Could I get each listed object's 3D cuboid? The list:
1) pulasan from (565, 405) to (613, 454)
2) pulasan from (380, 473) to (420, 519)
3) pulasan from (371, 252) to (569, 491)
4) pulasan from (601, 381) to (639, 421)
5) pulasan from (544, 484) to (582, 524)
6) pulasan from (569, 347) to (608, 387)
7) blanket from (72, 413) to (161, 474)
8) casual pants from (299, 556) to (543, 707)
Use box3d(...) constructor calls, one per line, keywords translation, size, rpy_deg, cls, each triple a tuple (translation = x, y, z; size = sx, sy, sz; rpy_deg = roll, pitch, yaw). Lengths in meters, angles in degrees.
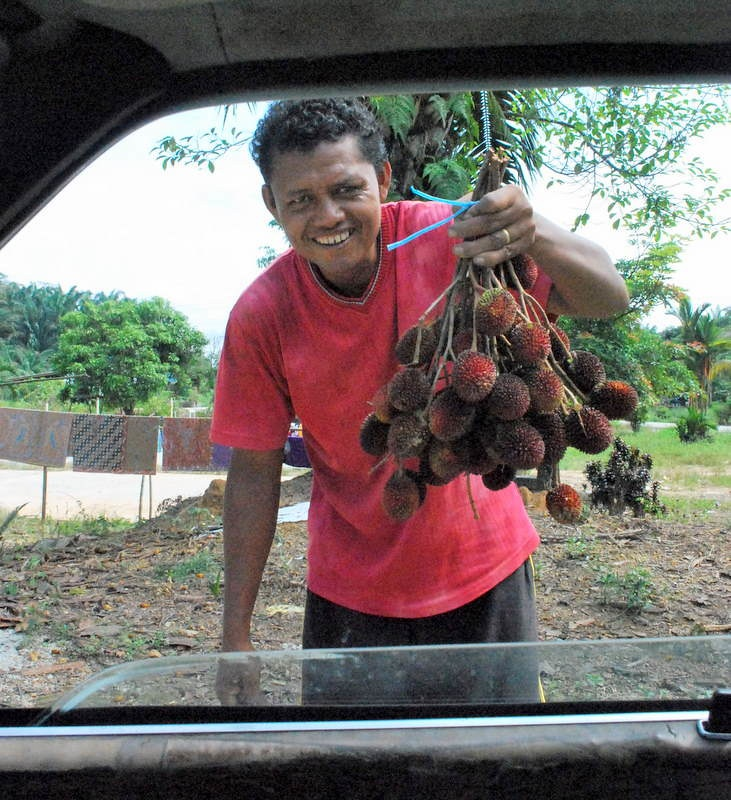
box3d(translation=(0.322, 0.043, 1.102), size=(0.072, 0.063, 0.073), rpy_deg=(-9, 3, -1), cls="pulasan")
box3d(translation=(0.055, 0.147, 1.135), size=(0.064, 0.068, 0.059), rpy_deg=(-2, -23, -1), cls="pulasan")
box3d(translation=(0.174, -0.020, 1.167), size=(0.355, 0.354, 0.185), rpy_deg=(0, -41, 10), cls="pulasan")
box3d(translation=(0.378, 0.000, 1.099), size=(0.058, 0.052, 0.059), rpy_deg=(0, 9, 6), cls="pulasan")
box3d(translation=(0.301, 0.158, 1.125), size=(0.071, 0.057, 0.059), rpy_deg=(-1, 14, 1), cls="pulasan")
box3d(translation=(0.337, -0.043, 1.130), size=(0.052, 0.045, 0.060), rpy_deg=(-1, 2, -1), cls="pulasan")
box3d(translation=(-2.603, 0.470, 7.825), size=(1.051, 0.595, 0.020), rpy_deg=(1, -5, 20), cls="blanket")
box3d(translation=(0.114, 0.411, 1.370), size=(0.342, 0.203, 0.163), rpy_deg=(1, -43, 0), cls="casual pants")
